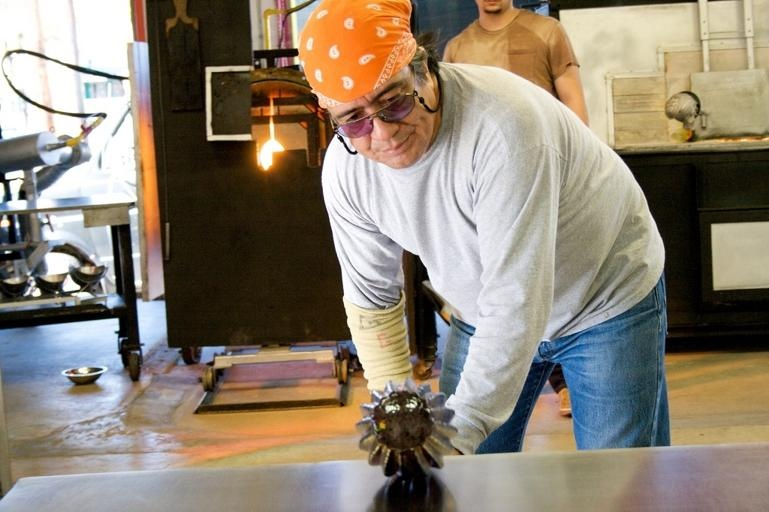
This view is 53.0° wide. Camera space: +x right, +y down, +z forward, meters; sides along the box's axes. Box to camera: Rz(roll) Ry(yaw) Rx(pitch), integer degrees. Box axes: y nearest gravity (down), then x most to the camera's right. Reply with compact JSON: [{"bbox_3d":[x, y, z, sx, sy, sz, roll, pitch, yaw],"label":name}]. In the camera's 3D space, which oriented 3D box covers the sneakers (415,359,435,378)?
[{"bbox_3d":[0.262,0.745,5.145,0.102,0.130,0.076,-7,17,-17],"label":"sneakers"}]
